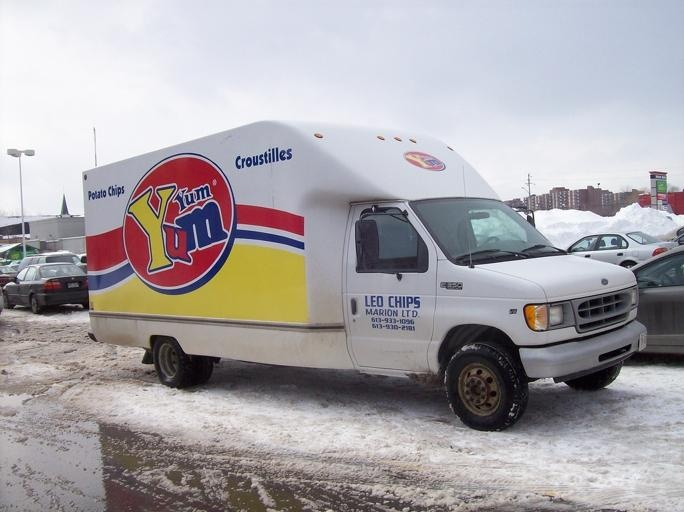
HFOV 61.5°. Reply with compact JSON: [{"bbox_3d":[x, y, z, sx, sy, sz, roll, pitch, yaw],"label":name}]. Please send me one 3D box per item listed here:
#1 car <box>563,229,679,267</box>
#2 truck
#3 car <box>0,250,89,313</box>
[{"bbox_3d":[8.279,-0.263,16.895,1.432,0.959,3.030,-6,8,-41],"label":"car"},{"bbox_3d":[-0.095,0.109,8.887,7.570,3.380,3.750,0,3,33],"label":"truck"},{"bbox_3d":[-10.298,1.065,20.077,3.516,1.266,1.392,0,5,42],"label":"car"}]
